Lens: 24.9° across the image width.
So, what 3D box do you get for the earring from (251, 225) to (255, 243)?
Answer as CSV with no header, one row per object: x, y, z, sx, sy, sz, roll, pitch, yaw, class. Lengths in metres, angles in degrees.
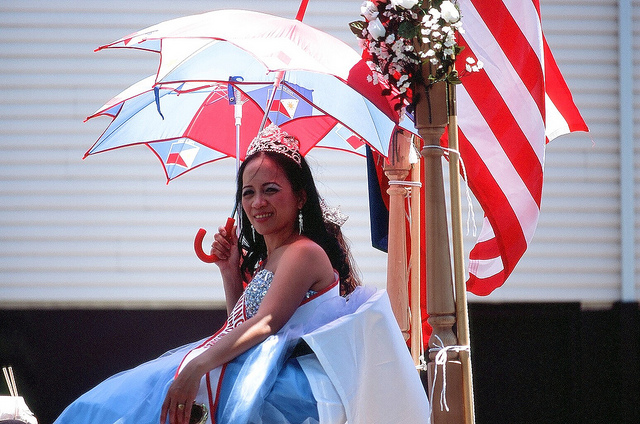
-0.563,0.165,12.218,0.026,0.092,0.023,-8,-10,-4,earring

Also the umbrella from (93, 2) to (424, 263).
-0.556,-0.591,12.433,2.452,2.295,2.565,6,21,22,umbrella

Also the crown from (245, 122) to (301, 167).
-0.394,-0.544,11.957,0.353,0.246,0.362,18,-28,-30,crown

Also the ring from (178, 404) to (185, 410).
-1.093,1.538,11.429,0.043,0.043,0.013,0,1,-1,ring
